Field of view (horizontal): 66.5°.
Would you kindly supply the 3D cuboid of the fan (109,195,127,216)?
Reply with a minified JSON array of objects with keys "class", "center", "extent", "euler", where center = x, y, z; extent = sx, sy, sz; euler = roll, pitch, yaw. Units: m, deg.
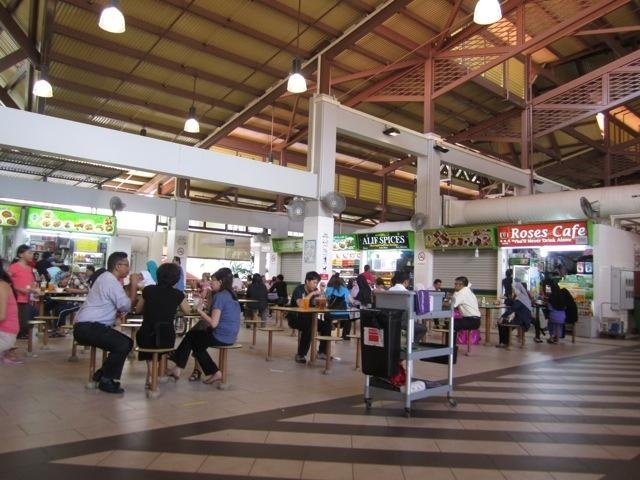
[{"class":"fan","center":[-5.785,-0.960,13.893],"extent":[0.518,0.507,0.227],"euler":[8,0,-6]}]

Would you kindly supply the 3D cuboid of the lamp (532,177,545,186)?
[{"class":"lamp","center":[7.306,-1.930,16.372],"extent":[0.345,0.067,0.242],"euler":[11,-9,-37]}]

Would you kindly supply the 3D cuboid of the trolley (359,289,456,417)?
[{"class":"trolley","center":[1.009,1.261,5.893],"extent":[0.883,1.200,1.306],"euler":[-4,-11,43]}]

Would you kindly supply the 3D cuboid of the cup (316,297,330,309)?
[{"class":"cup","center":[-0.012,0.994,7.622],"extent":[0.183,0.183,0.216],"euler":[-6,-13,33]}]

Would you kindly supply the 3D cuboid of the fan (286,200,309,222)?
[{"class":"fan","center":[-0.537,-0.653,10.958],"extent":[0.535,0.439,0.117],"euler":[7,6,-44]}]

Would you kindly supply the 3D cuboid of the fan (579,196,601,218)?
[{"class":"fan","center":[6.548,-0.757,11.827],"extent":[0.617,0.526,0.199],"euler":[3,0,-14]}]

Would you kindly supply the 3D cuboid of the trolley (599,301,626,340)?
[{"class":"trolley","center":[7.050,1.926,11.597],"extent":[0.685,0.809,0.430],"euler":[3,0,-26]}]

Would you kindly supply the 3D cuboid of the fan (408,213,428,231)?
[{"class":"fan","center":[2.757,-0.497,13.702],"extent":[0.461,0.501,0.305],"euler":[3,0,26]}]

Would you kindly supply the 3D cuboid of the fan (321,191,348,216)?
[{"class":"fan","center":[0.298,-0.842,11.318],"extent":[0.582,0.520,0.133],"euler":[-32,13,-18]}]

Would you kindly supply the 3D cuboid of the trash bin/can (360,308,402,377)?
[{"class":"trash bin/can","center":[0.661,1.164,5.449],"extent":[0.467,0.790,0.275],"euler":[3,0,9]}]
